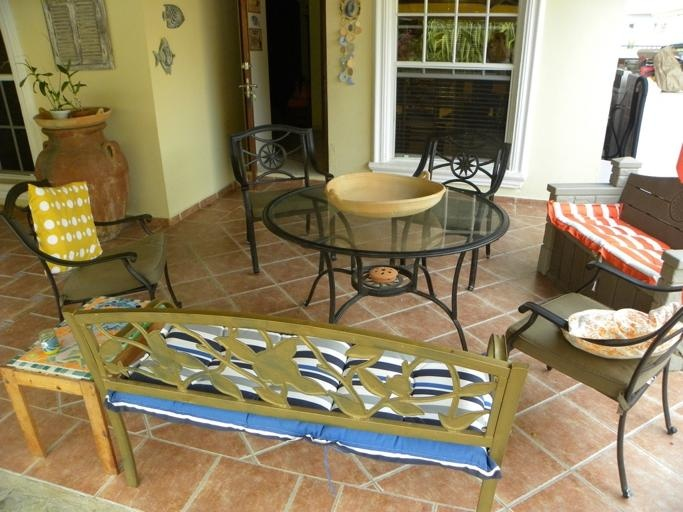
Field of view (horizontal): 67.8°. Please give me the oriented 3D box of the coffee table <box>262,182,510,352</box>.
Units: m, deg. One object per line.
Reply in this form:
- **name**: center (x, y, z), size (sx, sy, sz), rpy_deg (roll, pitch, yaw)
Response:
- **coffee table**: center (0.414, -0.163, 3.131), size (1.342, 0.704, 1.321), rpy_deg (-26, 41, -36)

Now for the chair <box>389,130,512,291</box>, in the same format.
- **chair**: center (1.123, -0.370, 4.893), size (1.184, 1.592, 1.129), rpy_deg (22, 28, 38)
